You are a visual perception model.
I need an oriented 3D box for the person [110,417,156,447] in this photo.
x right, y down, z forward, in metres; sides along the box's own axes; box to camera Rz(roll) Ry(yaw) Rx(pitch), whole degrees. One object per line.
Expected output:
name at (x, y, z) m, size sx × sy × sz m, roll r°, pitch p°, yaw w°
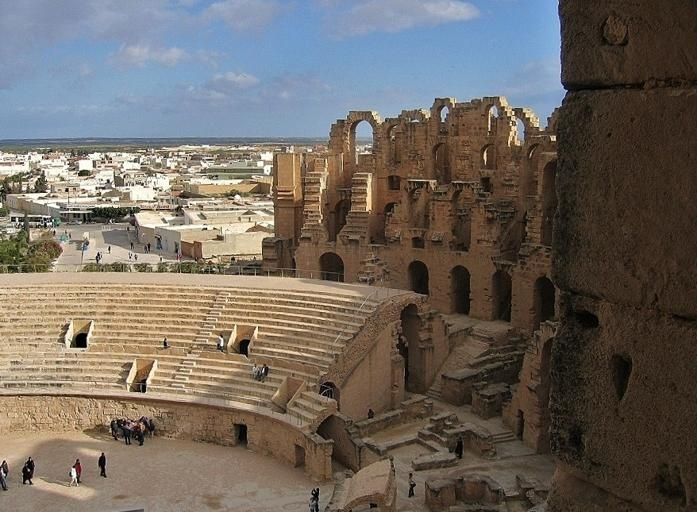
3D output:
person at (-7.513, 6.185, 25.737) m, size 0.943 × 0.580 × 1.102 m, roll 2°, pitch -4°, yaw -12°

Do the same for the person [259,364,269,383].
person at (-2.987, 4.123, 25.795) m, size 0.296 × 0.439 × 0.744 m, roll -2°, pitch 30°, yaw 7°
